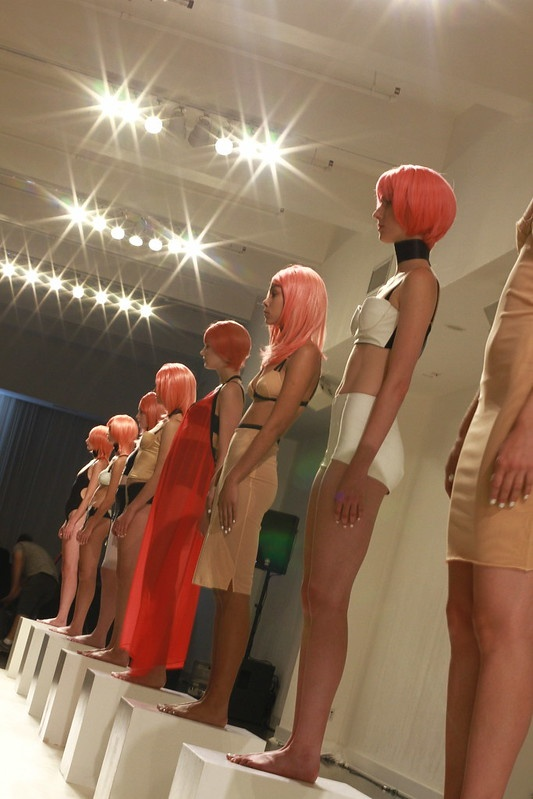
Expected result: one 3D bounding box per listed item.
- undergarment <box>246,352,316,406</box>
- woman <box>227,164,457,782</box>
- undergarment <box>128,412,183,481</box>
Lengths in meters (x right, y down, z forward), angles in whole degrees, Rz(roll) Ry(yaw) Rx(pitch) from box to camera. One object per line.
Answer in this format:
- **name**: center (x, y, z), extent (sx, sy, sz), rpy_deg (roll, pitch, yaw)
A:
- **undergarment**: center (0.038, -0.032, 1.831), extent (0.137, 0.120, 0.163), rpy_deg (19, -9, -5)
- **woman**: center (0.170, 0.061, 1.266), extent (0.230, 1.235, 0.250), rpy_deg (16, -14, 11)
- **undergarment**: center (-0.549, 0.233, 3.178), extent (0.188, 0.367, 0.235), rpy_deg (20, -16, -4)
